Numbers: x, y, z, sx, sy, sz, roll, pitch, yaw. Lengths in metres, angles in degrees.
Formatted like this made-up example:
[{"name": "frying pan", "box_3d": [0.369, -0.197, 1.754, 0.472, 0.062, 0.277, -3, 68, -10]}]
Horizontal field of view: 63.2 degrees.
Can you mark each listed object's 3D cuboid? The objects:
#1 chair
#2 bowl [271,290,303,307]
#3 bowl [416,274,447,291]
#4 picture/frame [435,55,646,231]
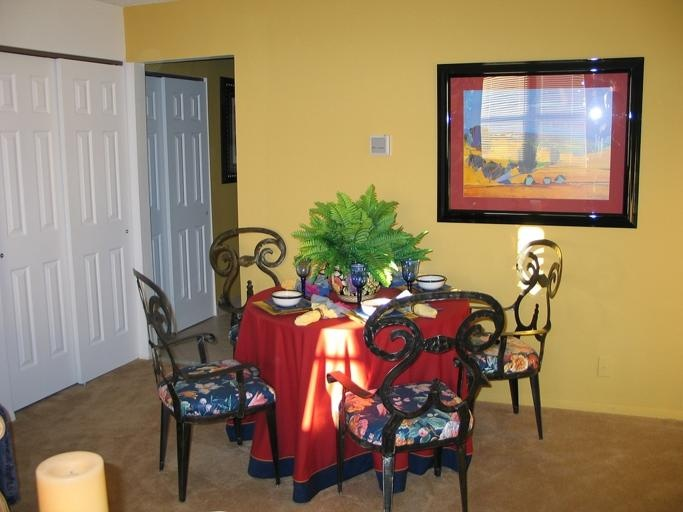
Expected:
[{"name": "chair", "box_3d": [0.037, 0.681, 2.894, 1.509, 0.796, 1.556, -3, 8, -17]}, {"name": "bowl", "box_3d": [-0.320, 0.240, 3.201, 0.107, 0.057, 0.109, 1, 14, 0]}, {"name": "bowl", "box_3d": [0.559, 0.162, 3.451, 0.114, 0.049, 0.119, -2, 14, 0]}, {"name": "picture/frame", "box_3d": [1.369, -0.785, 3.672, 1.062, 0.962, 0.075, 1, 7, 17]}]
